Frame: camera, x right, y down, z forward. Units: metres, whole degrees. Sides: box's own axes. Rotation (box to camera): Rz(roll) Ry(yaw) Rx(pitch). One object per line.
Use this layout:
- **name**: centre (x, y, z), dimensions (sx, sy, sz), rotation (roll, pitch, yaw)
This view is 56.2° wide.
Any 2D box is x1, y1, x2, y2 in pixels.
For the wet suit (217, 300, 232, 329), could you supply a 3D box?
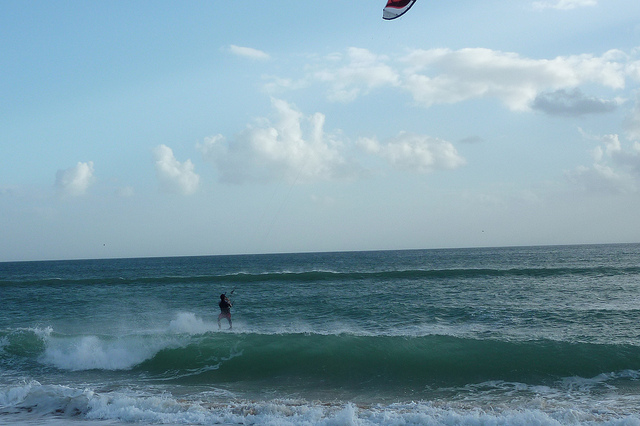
- **wet suit**: centre (-5.902, 6.222, 37.058), dimensions (0.768, 2.129, 1.500), rotation (-3, 8, -9)
